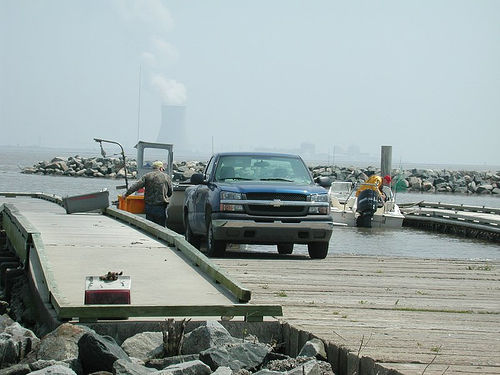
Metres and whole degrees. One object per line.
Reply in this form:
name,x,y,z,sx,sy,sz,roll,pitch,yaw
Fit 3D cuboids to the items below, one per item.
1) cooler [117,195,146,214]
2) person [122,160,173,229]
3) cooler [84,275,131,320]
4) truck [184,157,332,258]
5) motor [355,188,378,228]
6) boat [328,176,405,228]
cooler,-3.357,0.548,20.198,0.573,0.409,0.927,1,-3,-16
person,-2.394,0.369,16.409,1.085,1.963,0.715,4,5,-10
cooler,-1.556,1.147,7.746,0.435,0.293,0.450,1,4,-5
truck,0.156,0.400,14.112,2.856,1.960,1.920,2,4,8
motor,4.870,0.903,30.104,0.840,1.654,0.975,2,4,8
boat,5.164,0.943,31.955,2.446,1.993,4.424,1,4,-5
